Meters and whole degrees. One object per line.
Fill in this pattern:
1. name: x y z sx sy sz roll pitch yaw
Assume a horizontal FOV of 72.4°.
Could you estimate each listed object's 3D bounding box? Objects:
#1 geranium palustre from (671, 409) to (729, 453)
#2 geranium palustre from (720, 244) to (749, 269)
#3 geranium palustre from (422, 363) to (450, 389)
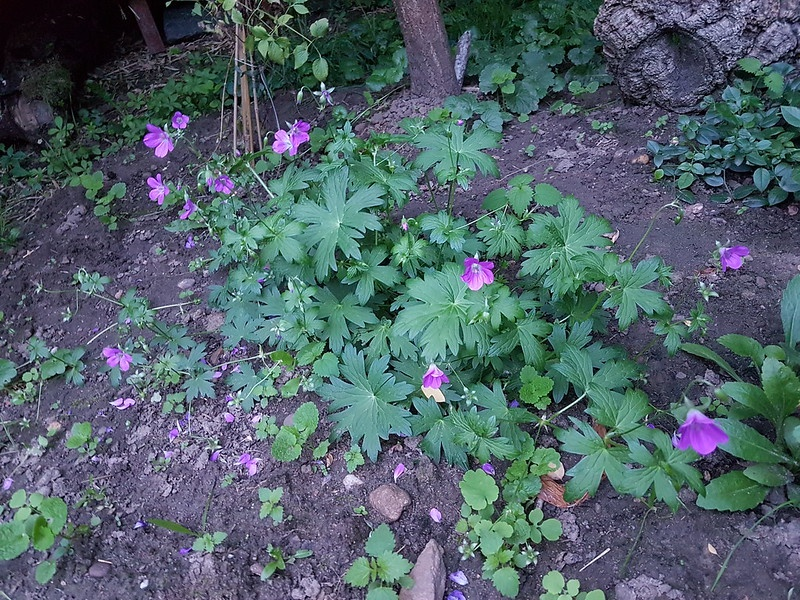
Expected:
1. geranium palustre: 1.247 0.551 2.259 0.187 0.223 0.103 -1 3 34
2. geranium palustre: 1.724 -0.224 2.822 0.100 0.113 0.052 -22 44 -18
3. geranium palustre: 0.166 0.378 2.736 0.108 0.058 0.146 -11 40 -11
